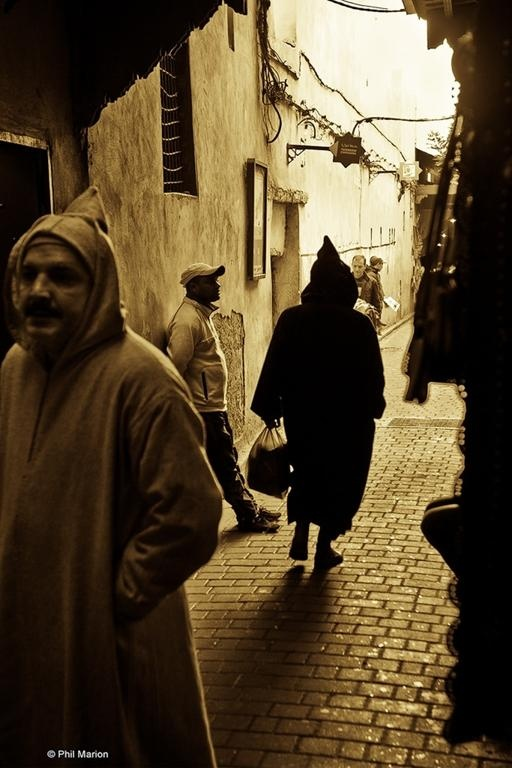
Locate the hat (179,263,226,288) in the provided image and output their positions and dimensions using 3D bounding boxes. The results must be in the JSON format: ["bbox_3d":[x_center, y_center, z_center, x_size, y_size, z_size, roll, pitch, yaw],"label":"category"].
[{"bbox_3d":[-0.358,-0.767,5.235,0.231,0.114,0.178,-21,1,18],"label":"hat"}]

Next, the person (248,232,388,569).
[{"bbox_3d":[0.399,0.131,4.729,0.780,2.078,0.324,0,4,13],"label":"person"}]
